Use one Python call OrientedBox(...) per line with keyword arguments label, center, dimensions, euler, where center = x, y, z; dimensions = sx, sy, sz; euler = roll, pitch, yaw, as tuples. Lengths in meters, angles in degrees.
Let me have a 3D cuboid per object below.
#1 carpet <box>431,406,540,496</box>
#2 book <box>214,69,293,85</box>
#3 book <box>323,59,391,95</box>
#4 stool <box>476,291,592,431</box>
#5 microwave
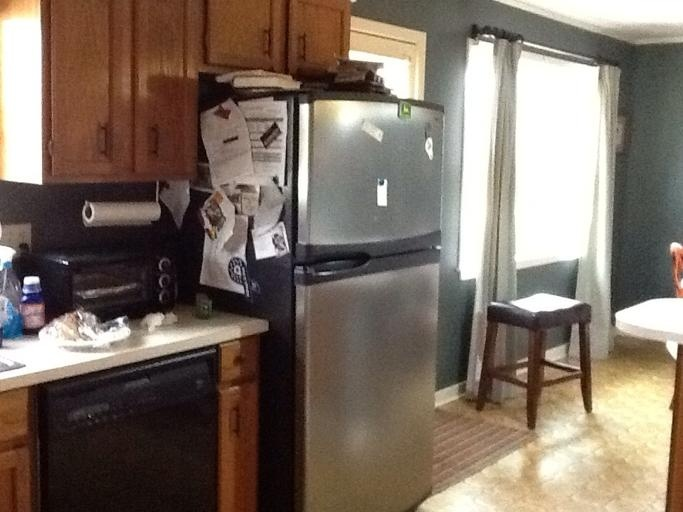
OrientedBox(label="carpet", center=(0.839, 1.139, 3.614), dimensions=(0.587, 0.026, 0.949), euler=(4, 12, 10))
OrientedBox(label="book", center=(-0.420, -0.770, 2.606), dimensions=(0.152, 0.040, 0.150), euler=(6, 11, 38))
OrientedBox(label="book", center=(0.060, -0.796, 2.711), dimensions=(0.205, 0.083, 0.205), euler=(11, 13, 28))
OrientedBox(label="stool", center=(1.314, 0.679, 4.094), dimensions=(0.744, 0.734, 0.565), euler=(-8, 15, -39))
OrientedBox(label="microwave", center=(-0.989, 0.134, 2.629), dimensions=(0.468, 0.277, 0.331), euler=(-8, 8, -37))
